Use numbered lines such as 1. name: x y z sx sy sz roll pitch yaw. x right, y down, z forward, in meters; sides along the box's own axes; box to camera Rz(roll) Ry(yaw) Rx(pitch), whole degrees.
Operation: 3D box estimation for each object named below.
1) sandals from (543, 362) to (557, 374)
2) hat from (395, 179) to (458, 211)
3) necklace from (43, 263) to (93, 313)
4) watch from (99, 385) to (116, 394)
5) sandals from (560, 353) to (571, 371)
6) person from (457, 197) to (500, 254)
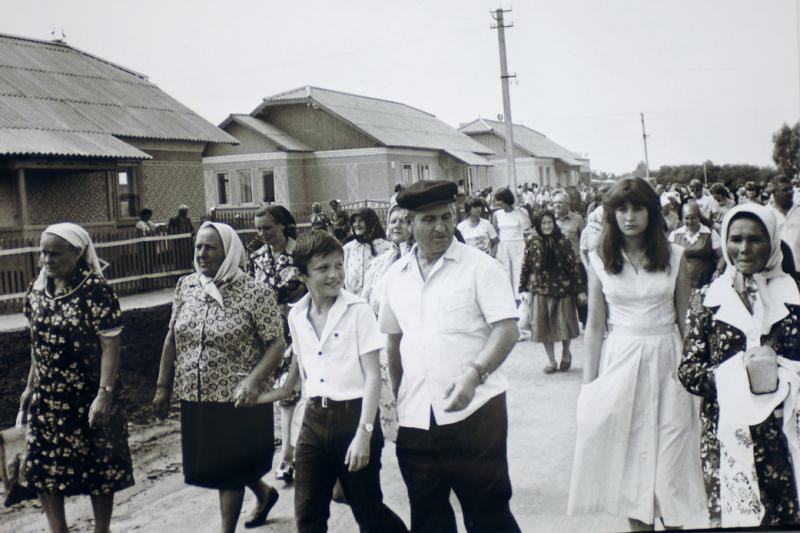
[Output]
1. sandals: 1.903 1.276 9.698 0.225 0.113 0.229 -4 4 -4
2. hat: 0.164 -0.513 5.561 0.248 0.126 0.303 -14 5 -37
3. necklace: -2.749 0.175 6.360 0.433 0.249 0.308 -24 21 -15
4. watch: -2.398 1.003 6.248 0.081 0.059 0.088 -4 -15 38
5. sandals: 2.099 1.238 9.806 0.082 0.245 0.094 -3 -33 39
6. person: 1.141 -0.597 11.733 0.729 1.079 0.635 -5 -2 23
